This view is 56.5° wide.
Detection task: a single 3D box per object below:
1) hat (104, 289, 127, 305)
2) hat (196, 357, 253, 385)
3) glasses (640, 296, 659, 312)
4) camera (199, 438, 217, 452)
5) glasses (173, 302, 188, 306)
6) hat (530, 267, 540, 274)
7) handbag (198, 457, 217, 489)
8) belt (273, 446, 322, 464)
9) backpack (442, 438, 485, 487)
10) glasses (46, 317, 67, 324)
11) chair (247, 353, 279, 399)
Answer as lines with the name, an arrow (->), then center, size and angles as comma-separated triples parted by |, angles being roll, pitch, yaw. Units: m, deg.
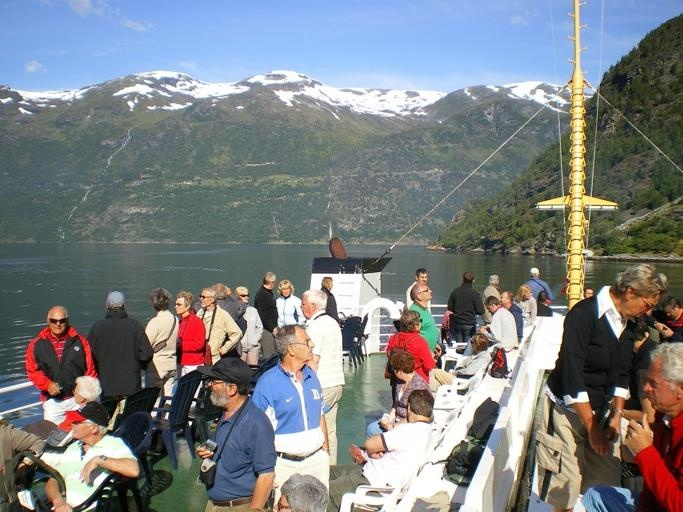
hat -> -2.527, 0.491, 7.043 | 0.168, 0.233, 0.230 | 1, 25, -10
hat -> -0.899, 0.892, 4.905 | 0.322, 0.120, 0.218 | 9, 0, 4
glasses -> 2.325, 0.367, 4.812 | 0.136, 0.145, 0.043 | 6, 0, -19
camera -> -1.048, 1.456, 4.893 | 0.137, 0.092, 0.091 | -1, 2, 35
glasses -> -2.002, 0.582, 7.721 | 0.140, 0.060, 0.078 | -1, 1, 27
hat -> 3.852, 0.350, 12.738 | 0.172, 0.187, 0.238 | 4, 17, 14
handbag -> -1.075, 1.679, 4.892 | 0.173, 0.266, 0.110 | -1, 2, 30
belt -> -0.401, 1.665, 5.313 | 0.278, 0.066, 0.284 | 8, -13, -9
backpack -> 1.076, 1.851, 5.699 | 0.157, 0.396, 0.400 | 37, 20, -3
glasses -> -2.969, 0.677, 6.590 | 0.180, 0.074, 0.196 | -3, 1, -27
chair -> -0.993, 1.454, 8.035 | 0.349, 0.427, 0.898 | -2, 1, -6
